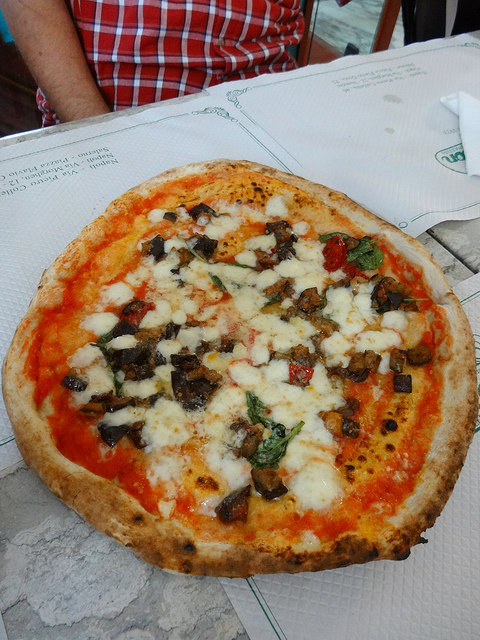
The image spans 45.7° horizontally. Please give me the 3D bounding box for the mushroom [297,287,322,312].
[{"bbox_3d":[0.155,-0.045,1.271,0.047,0.023,0.054,5,61,3],"label":"mushroom"}]

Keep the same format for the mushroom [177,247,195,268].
[{"bbox_3d":[-0.130,-0.149,1.347,0.049,0.012,0.041,-11,83,3],"label":"mushroom"}]

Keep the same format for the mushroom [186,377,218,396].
[{"bbox_3d":[-0.076,0.128,1.126,0.060,0.018,0.038,-9,41,-14],"label":"mushroom"}]

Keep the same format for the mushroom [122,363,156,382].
[{"bbox_3d":[-0.206,0.104,1.135,0.051,0.015,0.033,12,55,8],"label":"mushroom"}]

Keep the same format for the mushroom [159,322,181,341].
[{"bbox_3d":[-0.148,0.026,1.208,0.040,0.012,0.035,-3,55,16],"label":"mushroom"}]

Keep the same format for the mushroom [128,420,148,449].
[{"bbox_3d":[-0.194,0.213,1.061,0.043,0.013,0.039,-9,61,-37],"label":"mushroom"}]

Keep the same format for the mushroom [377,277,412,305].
[{"bbox_3d":[0.351,-0.073,1.298,0.069,0.019,0.060,8,76,9],"label":"mushroom"}]

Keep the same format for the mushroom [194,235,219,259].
[{"bbox_3d":[-0.074,-0.175,1.354,0.055,0.015,0.053,35,63,-14],"label":"mushroom"}]

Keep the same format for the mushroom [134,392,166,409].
[{"bbox_3d":[-0.180,0.155,1.108,0.035,0.009,0.033,3,24,21],"label":"mushroom"}]

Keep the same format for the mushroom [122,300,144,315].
[{"bbox_3d":[-0.230,-0.029,1.229,0.029,0.008,0.035,23,51,38],"label":"mushroom"}]

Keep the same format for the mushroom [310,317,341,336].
[{"bbox_3d":[0.186,0.011,1.247,0.037,0.013,0.057,-30,53,-23],"label":"mushroom"}]

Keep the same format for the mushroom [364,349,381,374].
[{"bbox_3d":[0.272,0.084,1.171,0.040,0.014,0.043,10,54,-23],"label":"mushroom"}]

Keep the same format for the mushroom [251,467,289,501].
[{"bbox_3d":[0.057,0.284,1.015,0.050,0.018,0.059,-12,39,-11],"label":"mushroom"}]

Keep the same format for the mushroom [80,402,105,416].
[{"bbox_3d":[-0.280,0.168,1.081,0.044,0.022,0.018,5,42,2],"label":"mushroom"}]

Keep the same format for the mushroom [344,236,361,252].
[{"bbox_3d":[0.269,-0.185,1.370,0.032,0.021,0.035,0,50,2],"label":"mushroom"}]

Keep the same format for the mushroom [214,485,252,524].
[{"bbox_3d":[-0.008,0.320,0.991,0.063,0.019,0.061,-38,50,-8],"label":"mushroom"}]

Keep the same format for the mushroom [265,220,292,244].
[{"bbox_3d":[0.096,-0.224,1.416,0.063,0.024,0.059,-11,59,-10],"label":"mushroom"}]

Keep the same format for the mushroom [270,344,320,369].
[{"bbox_3d":[0.119,0.075,1.192,0.067,0.018,0.061,8,34,12],"label":"mushroom"}]

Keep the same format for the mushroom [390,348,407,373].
[{"bbox_3d":[0.327,0.082,1.190,0.032,0.010,0.050,8,45,11],"label":"mushroom"}]

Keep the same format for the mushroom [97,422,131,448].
[{"bbox_3d":[-0.234,0.211,1.052,0.046,0.013,0.046,-15,24,-20],"label":"mushroom"}]

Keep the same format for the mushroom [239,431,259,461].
[{"bbox_3d":[0.018,0.233,1.055,0.031,0.014,0.047,8,48,14],"label":"mushroom"}]

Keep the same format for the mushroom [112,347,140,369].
[{"bbox_3d":[-0.229,0.072,1.136,0.050,0.017,0.036,-33,54,-17],"label":"mushroom"}]

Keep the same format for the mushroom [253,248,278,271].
[{"bbox_3d":[0.061,-0.150,1.378,0.055,0.014,0.050,11,51,5],"label":"mushroom"}]
